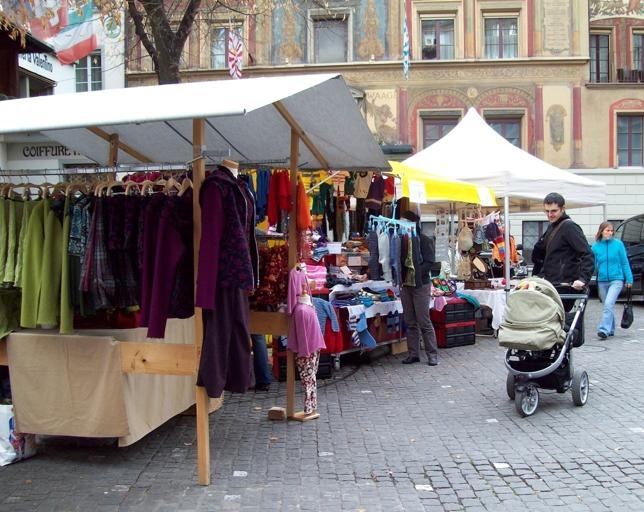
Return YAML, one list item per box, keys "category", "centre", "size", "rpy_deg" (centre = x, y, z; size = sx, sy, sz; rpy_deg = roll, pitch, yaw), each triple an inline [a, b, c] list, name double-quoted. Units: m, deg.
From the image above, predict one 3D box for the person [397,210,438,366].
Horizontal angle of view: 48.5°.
- category: "person"
  centre: [1.363, 0.590, 10.040]
  size: [0.507, 1.953, 0.463]
  rpy_deg: [0, 6, 2]

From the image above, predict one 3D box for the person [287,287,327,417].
- category: "person"
  centre: [-0.163, 1.067, 7.650]
  size: [0.348, 1.413, 0.675]
  rpy_deg: [0, 6, 0]

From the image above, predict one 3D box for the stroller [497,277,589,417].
- category: "stroller"
  centre: [2.501, 0.966, 8.031]
  size: [1.123, 1.456, 0.778]
  rpy_deg: [-3, 3, -41]

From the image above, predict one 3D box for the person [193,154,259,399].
- category: "person"
  centre: [-0.866, 0.215, 6.317]
  size: [0.512, 2.029, 0.677]
  rpy_deg: [-1, 6, -7]

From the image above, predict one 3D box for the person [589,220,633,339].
- category: "person"
  centre: [4.892, 0.414, 12.040]
  size: [0.632, 1.940, 0.916]
  rpy_deg: [2, 6, 22]

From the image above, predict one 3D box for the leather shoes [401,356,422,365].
- category: "leather shoes"
  centre: [1.279, 1.506, 10.251]
  size: [0.261, 0.121, 0.103]
  rpy_deg: [3, -5, -18]
